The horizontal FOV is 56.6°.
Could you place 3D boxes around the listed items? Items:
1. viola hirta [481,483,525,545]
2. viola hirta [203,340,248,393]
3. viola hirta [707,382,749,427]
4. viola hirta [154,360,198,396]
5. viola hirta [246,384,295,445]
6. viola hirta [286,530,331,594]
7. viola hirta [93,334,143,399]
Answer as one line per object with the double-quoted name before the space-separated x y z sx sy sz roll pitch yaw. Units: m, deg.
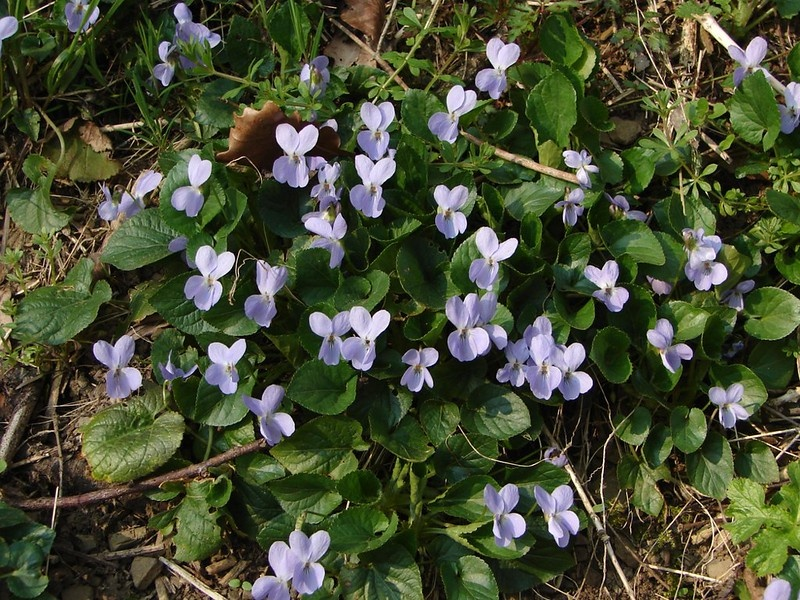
"viola hirta" 0.388 0.826 2.855 0.052 0.195 0.163 -22 27 18
"viola hirta" -0.704 0.266 2.995 0.143 0.209 0.184 12 62 -3
"viola hirta" 1.392 0.450 3.175 0.160 0.065 0.191 20 93 -1
"viola hirta" -0.961 0.346 3.221 0.169 0.260 0.127 9 60 -5
"viola hirta" -0.511 0.446 2.952 0.183 0.274 0.087 -11 20 -12
"viola hirta" -0.344 1.003 2.824 0.151 0.171 0.209 3 63 -8
"viola hirta" -1.167 0.283 3.111 0.152 0.194 0.210 -16 67 -17
